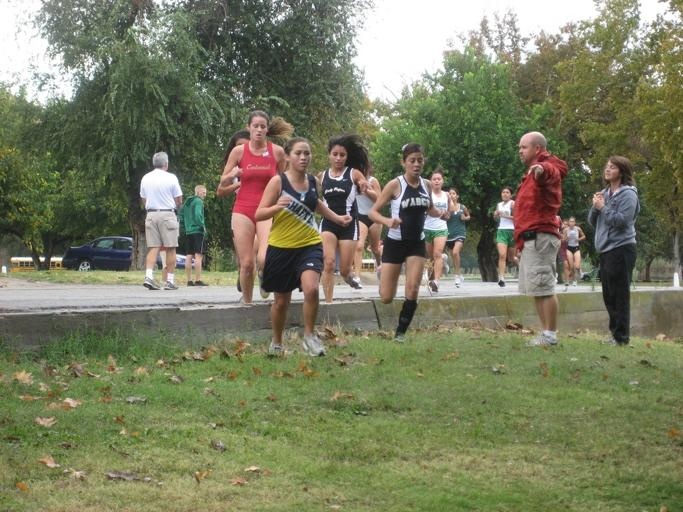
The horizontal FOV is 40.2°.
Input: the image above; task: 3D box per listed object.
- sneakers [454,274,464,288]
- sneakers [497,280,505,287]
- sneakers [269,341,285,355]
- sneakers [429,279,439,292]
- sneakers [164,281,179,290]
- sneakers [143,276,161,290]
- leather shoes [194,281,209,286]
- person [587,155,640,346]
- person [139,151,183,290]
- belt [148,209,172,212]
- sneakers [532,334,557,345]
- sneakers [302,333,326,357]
[{"bbox_3d":[2.710,0.587,21.207,0.219,0.294,0.666,-1,-7,9],"label":"sneakers"},{"bbox_3d":[3.804,0.644,21.965,0.094,0.127,0.313,-2,-7,3],"label":"sneakers"},{"bbox_3d":[-0.801,1.169,11.763,0.237,0.171,0.112,2,0,10],"label":"sneakers"},{"bbox_3d":[1.747,0.579,17.464,0.099,0.302,0.131,-1,41,38],"label":"sneakers"},{"bbox_3d":[-3.123,0.553,17.349,0.106,0.122,0.303,2,3,14],"label":"sneakers"},{"bbox_3d":[-3.431,0.511,16.980,0.145,0.191,0.409,2,-14,23],"label":"sneakers"},{"bbox_3d":[-2.897,0.576,19.574,0.260,0.109,0.105,2,2,-25],"label":"leather shoes"},{"bbox_3d":[3.897,-0.088,13.318,0.833,2.597,0.641,12,15,30],"label":"person"},{"bbox_3d":[-3.295,-0.577,17.144,0.713,2.664,1.215,1,13,-12],"label":"person"},{"bbox_3d":[-3.228,-0.815,16.729,0.400,0.059,0.044,1,14,-13],"label":"belt"},{"bbox_3d":[2.783,1.155,12.852,0.383,0.180,0.146,1,-1,6],"label":"sneakers"},{"bbox_3d":[-0.322,1.153,11.951,0.243,0.259,0.395,1,14,-14],"label":"sneakers"}]
